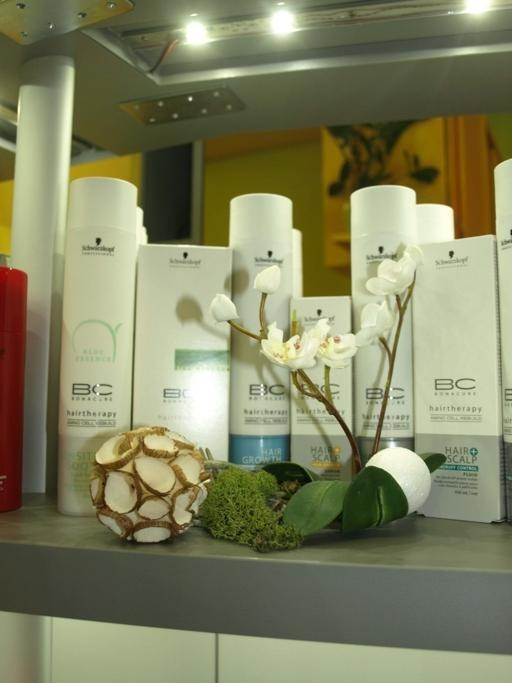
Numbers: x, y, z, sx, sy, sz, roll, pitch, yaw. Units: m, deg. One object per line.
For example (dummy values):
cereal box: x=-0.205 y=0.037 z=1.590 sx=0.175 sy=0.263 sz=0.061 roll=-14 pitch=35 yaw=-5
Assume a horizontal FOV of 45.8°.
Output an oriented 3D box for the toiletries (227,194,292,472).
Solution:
toiletries: x=0.008 y=-0.015 z=0.599 sx=0.066 sy=0.266 sz=0.052 roll=1 pitch=-2 yaw=-8

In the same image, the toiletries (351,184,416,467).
toiletries: x=0.123 y=-0.017 z=0.575 sx=0.062 sy=0.255 sz=0.042 roll=0 pitch=-2 yaw=9

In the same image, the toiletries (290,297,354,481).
toiletries: x=0.062 y=0.043 z=0.571 sx=0.060 sy=0.174 sz=0.054 roll=0 pitch=-2 yaw=3

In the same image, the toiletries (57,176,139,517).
toiletries: x=-0.142 y=0.003 z=0.546 sx=0.063 sy=0.300 sz=0.025 roll=1 pitch=-2 yaw=-12
